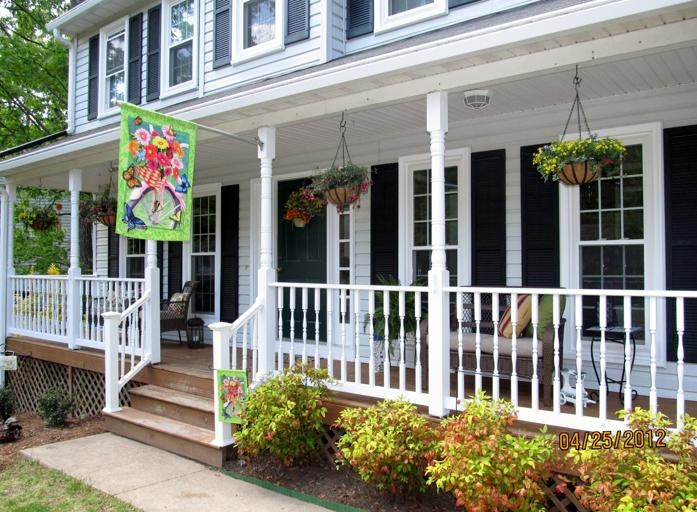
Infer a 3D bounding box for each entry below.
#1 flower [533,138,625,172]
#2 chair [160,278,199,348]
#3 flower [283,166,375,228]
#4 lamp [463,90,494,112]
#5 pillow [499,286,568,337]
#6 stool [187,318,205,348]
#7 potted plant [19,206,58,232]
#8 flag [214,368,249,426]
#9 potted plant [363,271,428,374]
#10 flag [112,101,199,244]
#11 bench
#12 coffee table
[{"bbox_3d":[2.318,-1.031,6.013,0.548,0.235,0.519,-4,3,13],"label":"flower"},{"bbox_3d":[-2.937,1.006,10.032,0.703,0.951,0.573,2,-5,-22],"label":"chair"},{"bbox_3d":[-0.283,-0.827,7.589,0.917,0.473,0.723,-21,-10,30],"label":"flower"},{"bbox_3d":[1.383,-1.703,6.396,0.252,0.166,0.314,2,-5,22],"label":"lamp"},{"bbox_3d":[1.999,0.703,6.500,0.218,0.562,0.541,34,-21,-30],"label":"pillow"},{"bbox_3d":[-2.545,1.254,9.888,0.279,0.454,0.481,5,-4,-16],"label":"stool"},{"bbox_3d":[-5.750,-0.675,11.011,0.550,0.417,0.577,-1,-3,25],"label":"potted plant"},{"bbox_3d":[-1.277,1.538,6.493,0.564,0.743,0.073,-2,-5,20],"label":"flag"},{"bbox_3d":[0.756,0.802,7.836,1.033,1.388,1.065,0,-2,40],"label":"potted plant"},{"bbox_3d":[-2.014,-0.836,6.228,0.167,1.328,0.909,0,-6,44],"label":"flag"},{"bbox_3d":[1.563,0.957,6.664,1.483,1.110,0.908,2,-2,33],"label":"bench"},{"bbox_3d":[2.848,1.174,6.556,0.587,0.842,0.949,1,-5,31],"label":"coffee table"}]
